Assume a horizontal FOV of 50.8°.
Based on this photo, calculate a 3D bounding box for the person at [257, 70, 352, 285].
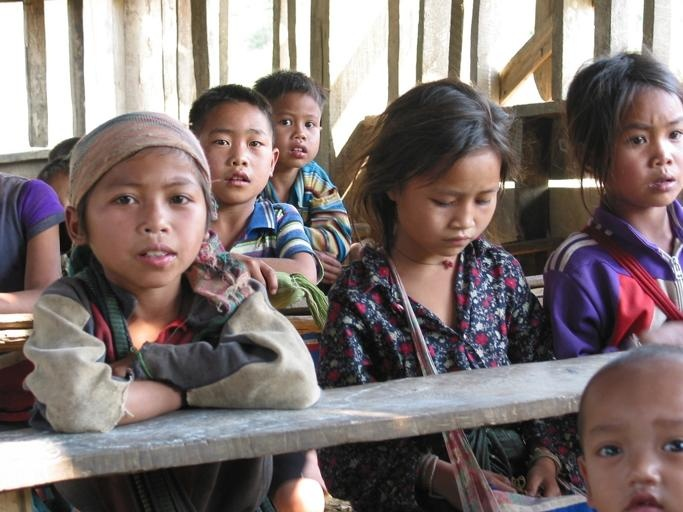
[{"bbox_3d":[-0.324,-0.478,4.184,0.672,1.096,0.764,1,-3,-26],"label":"person"}]

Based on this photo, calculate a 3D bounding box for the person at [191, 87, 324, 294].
[{"bbox_3d":[-0.475,-0.316,3.432,0.665,1.016,0.831,-1,8,-16],"label":"person"}]
